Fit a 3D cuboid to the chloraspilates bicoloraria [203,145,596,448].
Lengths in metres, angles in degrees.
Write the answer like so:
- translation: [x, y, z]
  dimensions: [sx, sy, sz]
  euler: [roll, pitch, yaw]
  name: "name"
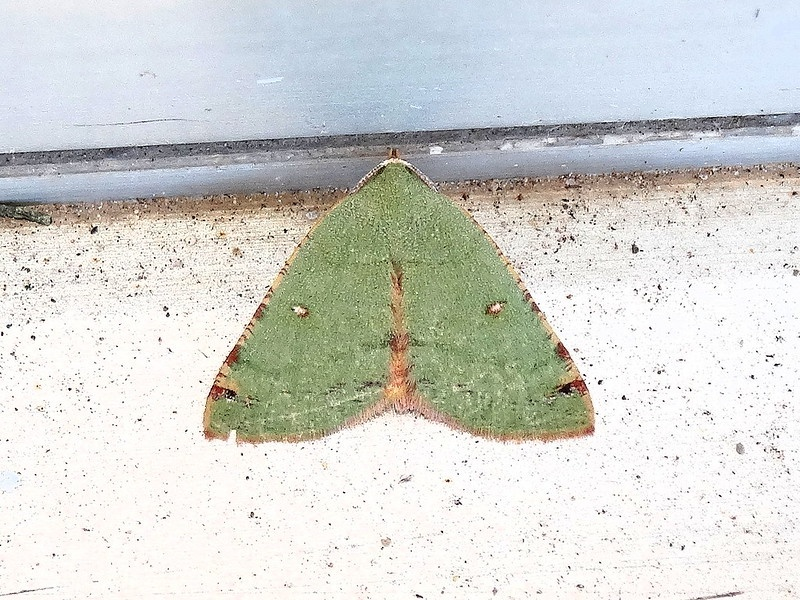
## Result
- translation: [-0.014, 0.080, 6.045]
  dimensions: [1.763, 0.323, 1.167]
  euler: [0, 80, 0]
  name: "chloraspilates bicoloraria"
